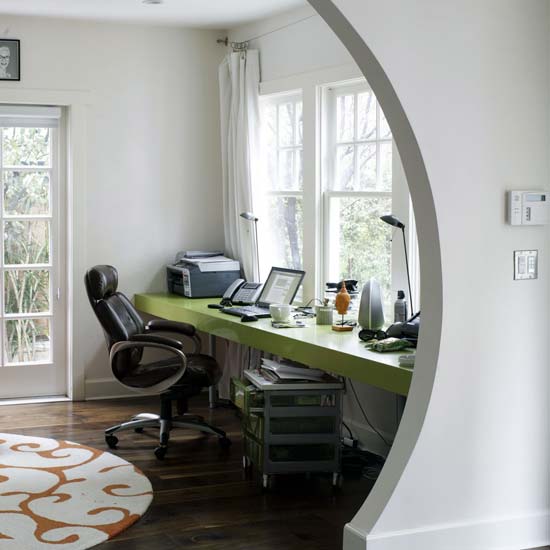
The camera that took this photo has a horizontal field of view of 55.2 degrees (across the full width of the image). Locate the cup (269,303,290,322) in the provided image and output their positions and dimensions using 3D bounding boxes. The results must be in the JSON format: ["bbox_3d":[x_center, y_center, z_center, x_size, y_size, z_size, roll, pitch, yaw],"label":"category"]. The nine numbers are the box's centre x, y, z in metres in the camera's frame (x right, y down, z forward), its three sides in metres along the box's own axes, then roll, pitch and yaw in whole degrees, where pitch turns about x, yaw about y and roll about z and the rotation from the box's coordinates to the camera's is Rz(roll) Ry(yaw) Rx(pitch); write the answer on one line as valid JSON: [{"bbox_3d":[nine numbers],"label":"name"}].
[{"bbox_3d":[0.023,0.208,2.997,0.098,0.078,0.093,-2,8,0],"label":"cup"}]

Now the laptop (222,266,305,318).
[{"bbox_3d":[-0.071,0.098,3.458,0.359,0.294,0.398,11,-2,-31],"label":"laptop"}]

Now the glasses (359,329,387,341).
[{"bbox_3d":[0.466,0.296,2.563,0.079,0.061,0.131,1,0,-39],"label":"glasses"}]

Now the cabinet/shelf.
[{"bbox_3d":[0.070,0.767,2.879,0.489,0.532,0.628,0,1,-7],"label":"cabinet/shelf"}]

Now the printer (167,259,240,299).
[{"bbox_3d":[-0.548,0.045,4.231,0.349,0.217,0.386,0,3,-26],"label":"printer"}]

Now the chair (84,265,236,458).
[{"bbox_3d":[-0.708,0.525,3.382,0.849,1.141,0.733,0,2,7],"label":"chair"}]
